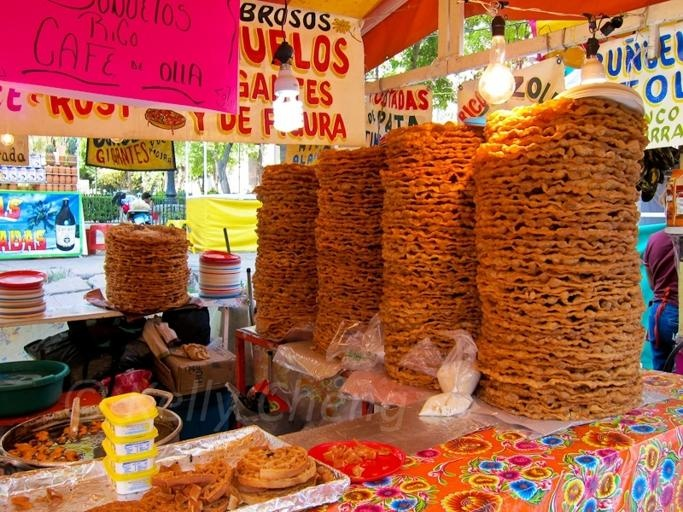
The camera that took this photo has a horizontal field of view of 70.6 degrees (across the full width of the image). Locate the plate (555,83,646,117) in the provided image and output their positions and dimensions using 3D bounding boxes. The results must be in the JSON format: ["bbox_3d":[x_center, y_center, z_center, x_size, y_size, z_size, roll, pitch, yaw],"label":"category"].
[{"bbox_3d":[1.120,-0.661,2.020,0.409,0.114,0.119,-1,5,-5],"label":"plate"}]

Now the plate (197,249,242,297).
[{"bbox_3d":[-1.466,0.189,5.535,0.491,0.477,0.434,0,7,-28],"label":"plate"}]
